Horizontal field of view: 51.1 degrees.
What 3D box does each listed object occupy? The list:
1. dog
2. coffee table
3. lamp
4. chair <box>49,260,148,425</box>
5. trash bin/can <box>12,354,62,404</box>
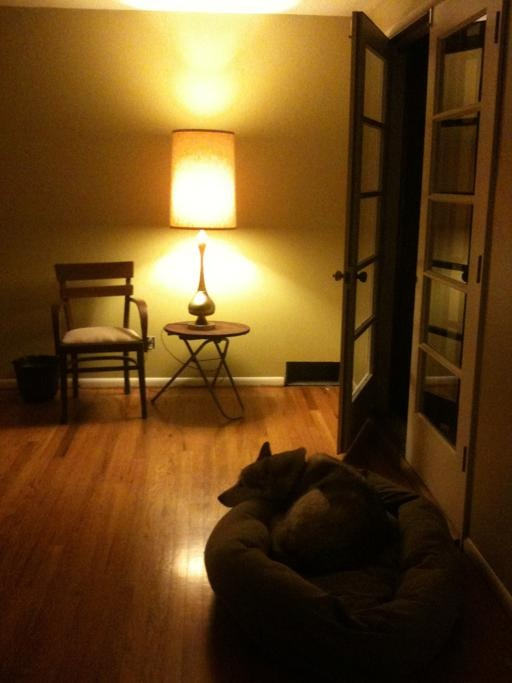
[{"bbox_3d":[0.171,0.515,1.757,0.427,0.216,0.561,-5,9,-30],"label":"dog"},{"bbox_3d":[-0.347,0.132,3.543,0.587,0.566,0.856,-1,8,-2],"label":"coffee table"},{"bbox_3d":[-0.315,-0.692,3.317,0.407,1.157,0.306,-1,7,-8],"label":"lamp"},{"bbox_3d":[-0.954,-0.048,3.295,0.500,0.945,0.550,-3,4,-23],"label":"chair"},{"bbox_3d":[-1.471,0.261,3.554,0.352,0.333,0.350,-3,4,36],"label":"trash bin/can"}]
